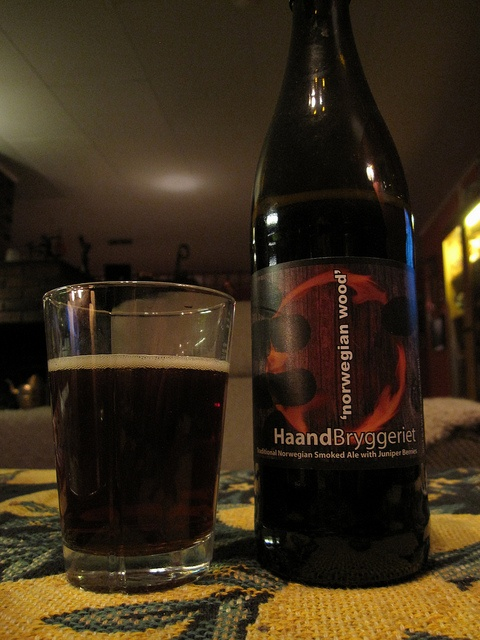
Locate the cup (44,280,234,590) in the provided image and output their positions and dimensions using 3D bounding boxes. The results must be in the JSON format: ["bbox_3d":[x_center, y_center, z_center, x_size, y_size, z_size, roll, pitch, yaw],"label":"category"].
[{"bbox_3d":[-0.070,0.083,0.446,0.132,0.192,0.132,-2,-7,0],"label":"cup"}]
